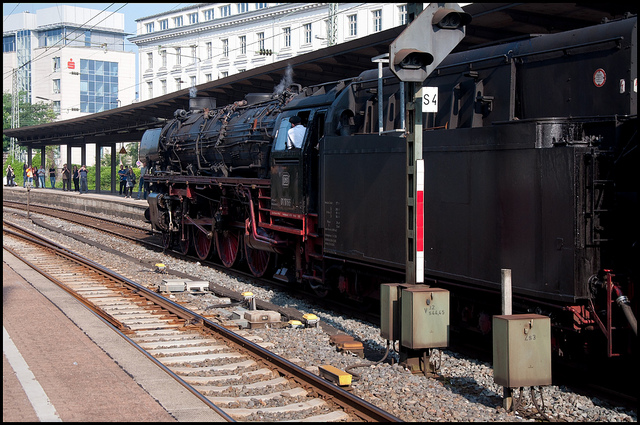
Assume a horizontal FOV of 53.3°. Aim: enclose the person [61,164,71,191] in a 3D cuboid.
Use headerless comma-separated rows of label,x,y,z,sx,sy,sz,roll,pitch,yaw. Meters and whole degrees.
person,-19.445,-2.622,48.612,0.449,2.054,1.535,-2,8,-21
